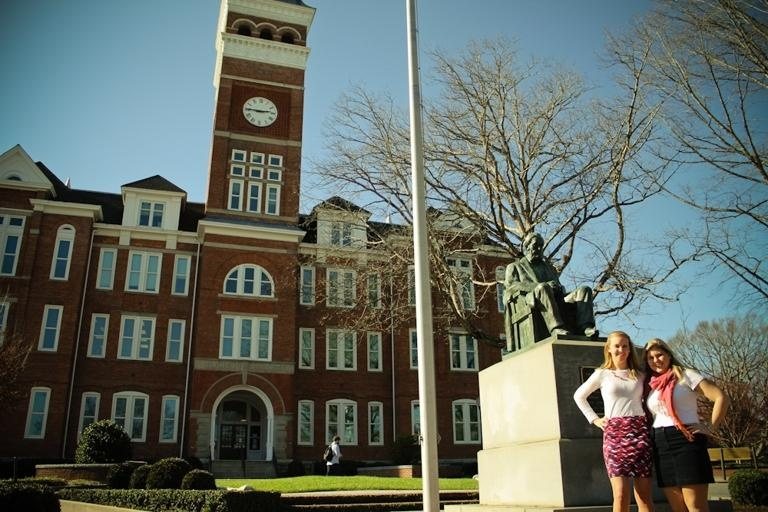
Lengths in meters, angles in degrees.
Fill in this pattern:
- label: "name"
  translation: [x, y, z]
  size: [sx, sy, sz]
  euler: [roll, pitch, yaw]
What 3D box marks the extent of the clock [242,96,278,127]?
- label: "clock"
  translation: [-7.825, -9.007, 38.022]
  size: [2.303, 2.021, 0.152]
  euler: [7, -21, -25]
